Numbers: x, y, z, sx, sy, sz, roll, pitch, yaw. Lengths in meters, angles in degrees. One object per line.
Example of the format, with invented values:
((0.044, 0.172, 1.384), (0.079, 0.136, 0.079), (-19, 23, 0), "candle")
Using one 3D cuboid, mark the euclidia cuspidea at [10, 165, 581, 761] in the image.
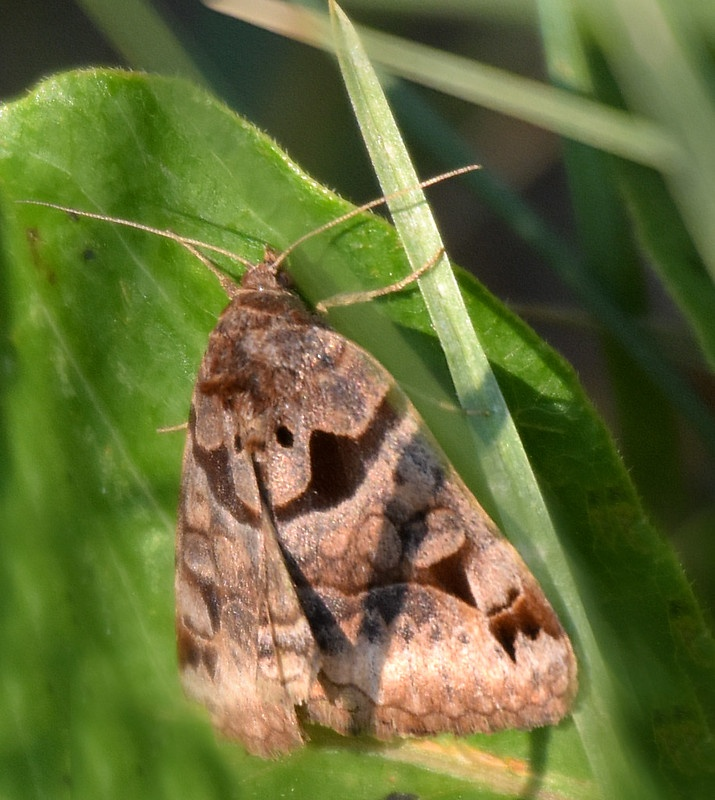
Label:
((-0.066, 0.228, 3.136), (1.339, 1.628, 0.842), (-5, 26, 16), "euclidia cuspidea")
